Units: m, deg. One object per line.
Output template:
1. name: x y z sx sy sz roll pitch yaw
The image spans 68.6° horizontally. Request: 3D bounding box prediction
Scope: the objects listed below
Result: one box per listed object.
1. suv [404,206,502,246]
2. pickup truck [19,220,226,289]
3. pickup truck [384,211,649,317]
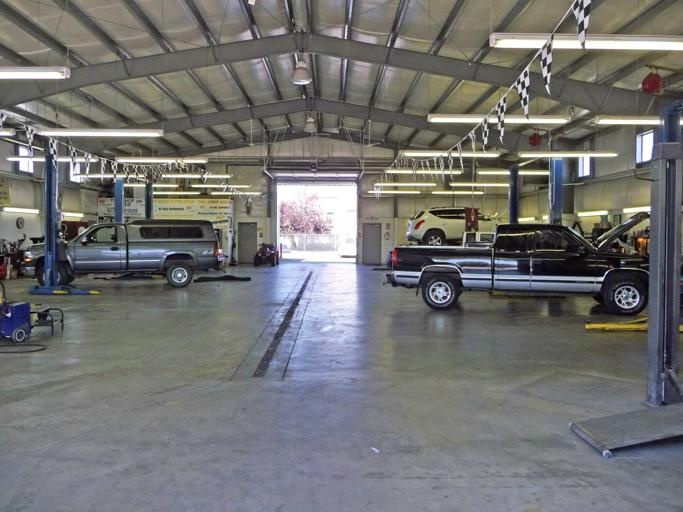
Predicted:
1. suv: 4.910 -1.374 22.292 3.727 1.574 1.854 -1 3 -1
2. pickup truck: -6.550 -0.143 15.830 5.574 2.083 2.237 1 -1 -13
3. pickup truck: 3.999 0.032 11.481 5.571 2.667 2.176 0 1 15
